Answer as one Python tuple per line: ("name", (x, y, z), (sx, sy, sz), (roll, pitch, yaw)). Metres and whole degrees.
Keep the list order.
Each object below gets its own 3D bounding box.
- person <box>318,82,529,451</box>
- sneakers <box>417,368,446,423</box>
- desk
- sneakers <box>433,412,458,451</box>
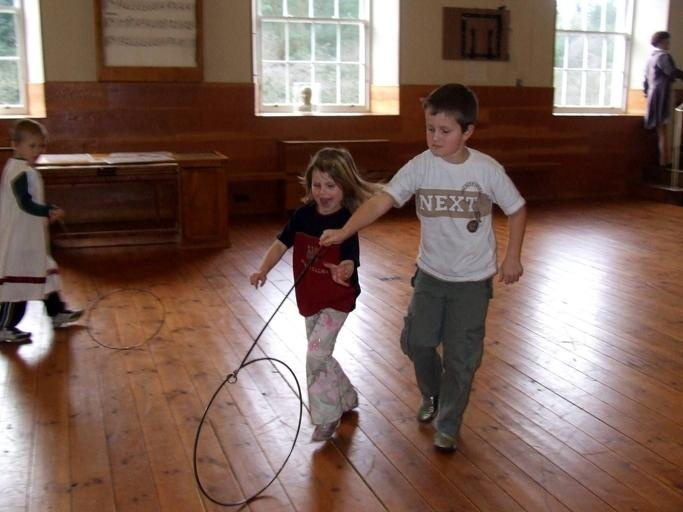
("person", (0.391, 0.067, 2.225), (0.685, 1.463, 0.286), (1, 14, 5))
("sneakers", (0.406, 0.640, 2.545), (0.087, 0.284, 0.112), (13, -4, 41))
("desk", (-2.181, -0.571, 5.576), (1.878, 1.010, 0.735), (-5, 19, -22))
("sneakers", (0.434, 0.745, 2.266), (0.057, 0.081, 0.179), (0, -3, 3))
